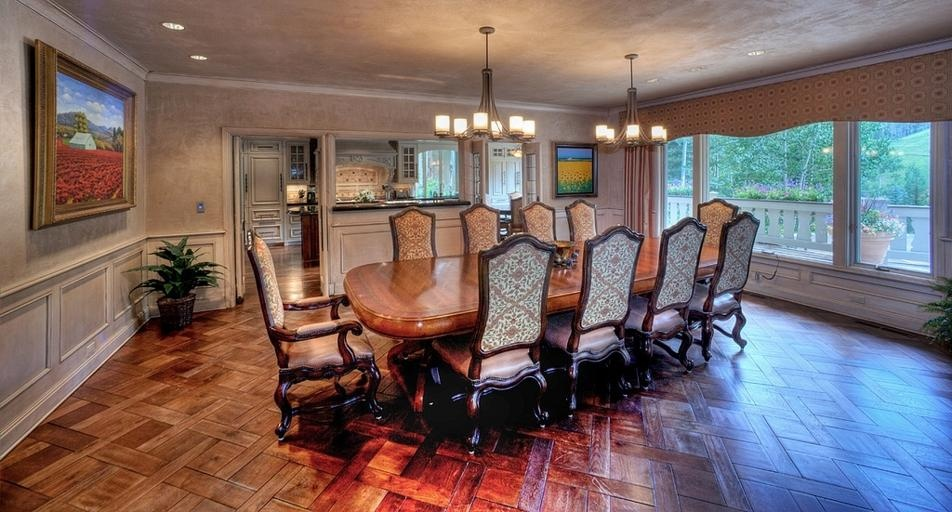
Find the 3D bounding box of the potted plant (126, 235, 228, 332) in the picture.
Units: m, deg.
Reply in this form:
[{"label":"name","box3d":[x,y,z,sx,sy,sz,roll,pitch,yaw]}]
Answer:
[{"label":"potted plant","box3d":[-3.762,0.277,6.767,1.204,0.956,1.190,5,8,35]}]

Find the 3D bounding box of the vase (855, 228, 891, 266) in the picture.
[{"label":"vase","box3d":[5.103,-0.121,6.663,0.453,0.420,0.405,3,13,12]}]

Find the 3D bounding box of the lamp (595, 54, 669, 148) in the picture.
[{"label":"lamp","box3d":[1.965,-1.944,6.535,0.991,1.005,0.970,-12,18,-38]}]

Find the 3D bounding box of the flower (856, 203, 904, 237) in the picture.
[{"label":"flower","box3d":[5.140,-0.478,6.646,0.436,0.233,0.372,-1,11,-13]}]

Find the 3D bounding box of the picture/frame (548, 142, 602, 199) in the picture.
[{"label":"picture/frame","box3d":[1.685,-1.529,9.092,1.210,1.112,0.085,-2,4,-29]}]

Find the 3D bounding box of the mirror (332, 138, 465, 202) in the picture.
[{"label":"mirror","box3d":[-1.920,-2.043,12.926,3.199,1.665,0.397,-6,22,-19]}]

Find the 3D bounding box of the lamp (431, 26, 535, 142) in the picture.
[{"label":"lamp","box3d":[0.125,-2.048,6.096,1.279,1.118,1.240,-5,20,-15]}]

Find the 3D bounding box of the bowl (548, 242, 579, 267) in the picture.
[{"label":"bowl","box3d":[1.000,-0.049,5.754,0.363,0.242,0.318,-3,7,0]}]

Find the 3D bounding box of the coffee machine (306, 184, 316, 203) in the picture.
[{"label":"coffee machine","box3d":[-3.749,-1.436,11.844,0.257,0.446,0.163,1,12,8]}]

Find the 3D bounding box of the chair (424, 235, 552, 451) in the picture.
[{"label":"chair","box3d":[0.203,0.751,4.809,0.851,1.960,0.537,-7,14,-27]}]

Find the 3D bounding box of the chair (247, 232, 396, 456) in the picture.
[{"label":"chair","box3d":[-1.786,0.862,6.123,1.967,2.656,1.847,-2,11,-15]}]
